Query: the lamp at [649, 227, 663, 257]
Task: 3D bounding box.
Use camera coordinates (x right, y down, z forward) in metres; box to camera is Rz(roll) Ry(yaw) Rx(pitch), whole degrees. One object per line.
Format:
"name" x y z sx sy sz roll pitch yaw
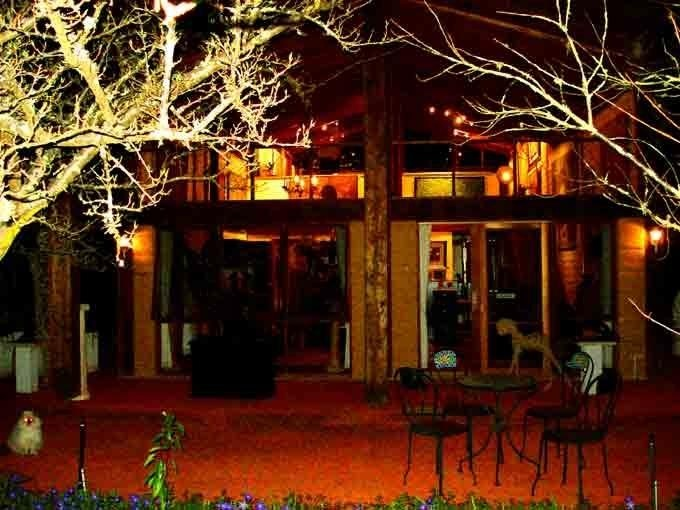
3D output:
"lamp" 6.680 -0.221 17.005 0.282 0.613 0.931 -4 -9 28

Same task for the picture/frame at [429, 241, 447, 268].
"picture/frame" 2.950 -0.026 25.625 0.861 0.850 0.888 2 -3 8
